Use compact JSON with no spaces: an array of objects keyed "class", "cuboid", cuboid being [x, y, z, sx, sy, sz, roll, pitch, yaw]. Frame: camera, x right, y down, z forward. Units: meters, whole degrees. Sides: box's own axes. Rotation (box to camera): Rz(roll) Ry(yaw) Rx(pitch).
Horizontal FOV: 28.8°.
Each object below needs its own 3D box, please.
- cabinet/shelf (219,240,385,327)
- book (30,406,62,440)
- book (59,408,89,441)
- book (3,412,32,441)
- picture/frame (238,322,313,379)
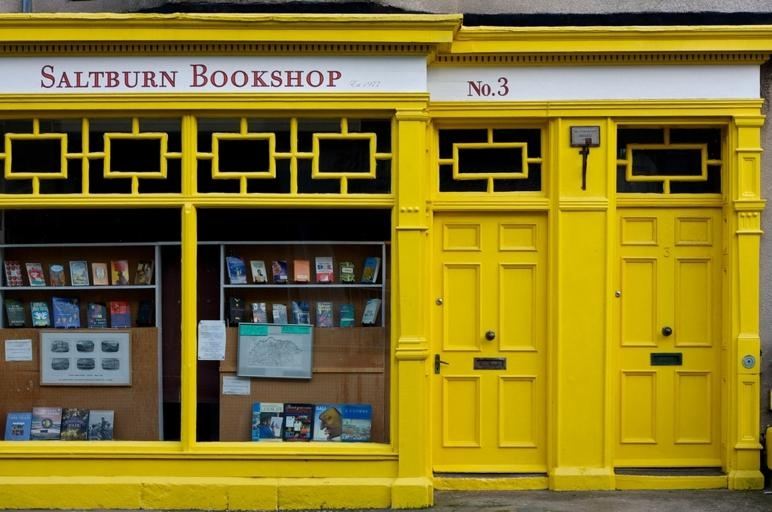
[{"class":"cabinet/shelf","cuboid":[-0.926,0.306,18.140,2.208,1.013,0.280,0,11,28]},{"class":"book","cuboid":[-4.051,2.000,17.921,0.458,0.388,0.034,1,-8,1]},{"class":"book","cuboid":[-3.717,1.993,17.911,0.328,0.369,0.087,-3,-8,9]},{"class":"book","cuboid":[-4.392,2.035,17.932,0.392,0.432,0.055,2,-15,-3]},{"class":"picture/frame","cuboid":[-1.345,1.146,17.931,0.776,0.459,0.059,1,-8,-3]}]
